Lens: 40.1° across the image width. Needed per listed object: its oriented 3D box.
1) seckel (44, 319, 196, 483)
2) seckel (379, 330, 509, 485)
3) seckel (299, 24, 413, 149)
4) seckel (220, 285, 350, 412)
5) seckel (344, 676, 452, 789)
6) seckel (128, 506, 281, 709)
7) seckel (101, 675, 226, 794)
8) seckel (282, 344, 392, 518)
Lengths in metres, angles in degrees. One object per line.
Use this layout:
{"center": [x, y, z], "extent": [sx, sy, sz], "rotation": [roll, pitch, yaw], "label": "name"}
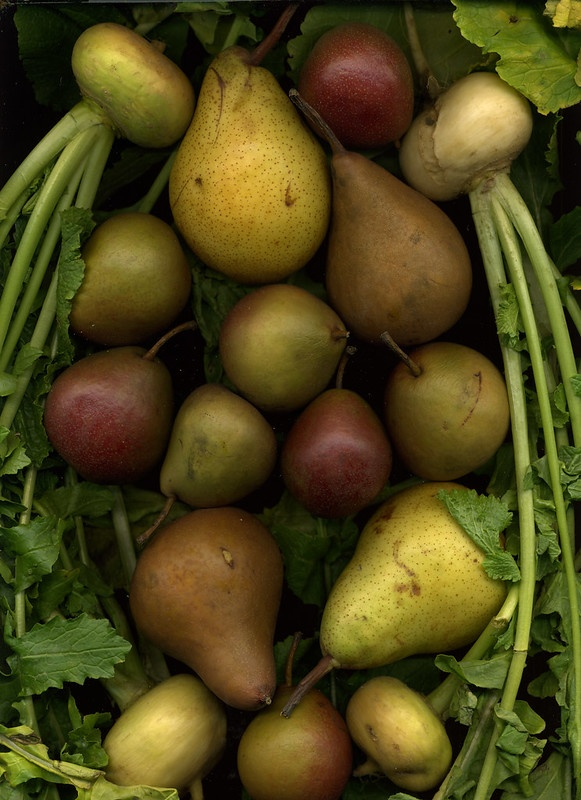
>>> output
{"center": [-0.208, 0.000, 0.973], "extent": [0.141, 0.215, 0.165], "rotation": [20, 23, 18], "label": "seckel"}
{"center": [0.180, 0.011, 0.935], "extent": [0.161, 0.113, 0.111], "rotation": [45, 36, -13], "label": "seckel"}
{"center": [0.092, -0.354, 0.936], "extent": [0.116, 0.141, 0.115], "rotation": [-4, 24, 20], "label": "seckel"}
{"center": [-0.004, -0.057, 0.921], "extent": [0.118, 0.090, 0.094], "rotation": [-18, 53, -12], "label": "seckel"}
{"center": [0.124, 0.377, 0.892], "extent": [0.089, 0.062, 0.130], "rotation": [-38, 75, -8], "label": "seckel"}
{"center": [-0.086, 0.240, 0.975], "extent": [0.179, 0.111, 0.220], "rotation": [-29, 78, -3], "label": "seckel"}
{"center": [-0.141, 0.383, 0.955], "extent": [0.141, 0.101, 0.107], "rotation": [-37, 61, -25], "label": "seckel"}
{"center": [0.058, 0.049, 0.957], "extent": [0.137, 0.122, 0.185], "rotation": [-6, 85, -26], "label": "seckel"}
